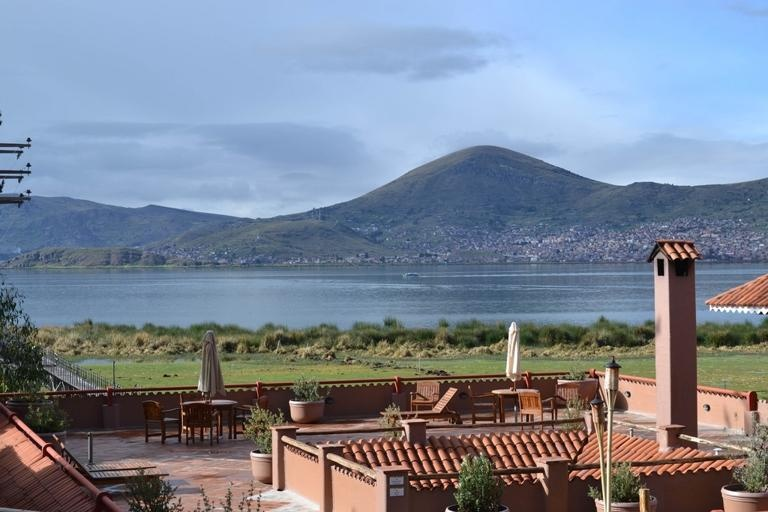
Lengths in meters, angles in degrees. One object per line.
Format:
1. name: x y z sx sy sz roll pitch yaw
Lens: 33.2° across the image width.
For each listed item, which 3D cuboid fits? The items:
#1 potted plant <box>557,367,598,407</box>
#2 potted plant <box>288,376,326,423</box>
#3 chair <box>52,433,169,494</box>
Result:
1. potted plant: 6.430 4.375 42.768 1.249 0.806 1.192 0 -5 0
2. potted plant: -2.506 4.776 42.264 1.403 1.633 1.348 -1 -6 -2
3. chair: -7.586 5.839 35.870 2.907 1.391 1.765 1 1 -17
